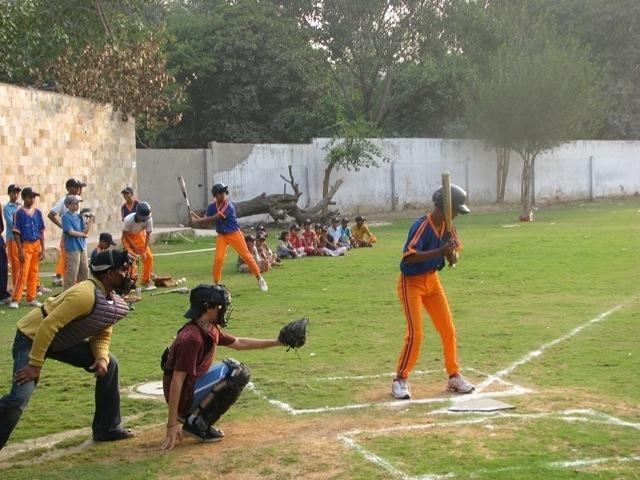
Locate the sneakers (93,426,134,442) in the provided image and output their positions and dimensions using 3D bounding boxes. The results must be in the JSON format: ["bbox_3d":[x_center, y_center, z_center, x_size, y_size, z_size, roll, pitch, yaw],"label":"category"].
[{"bbox_3d":[-3.251,3.066,15.854,0.666,0.266,0.219,-4,7,-8],"label":"sneakers"}]

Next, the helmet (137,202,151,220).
[{"bbox_3d":[-3.764,-0.653,21.448,0.289,0.329,0.388,1,12,-24],"label":"helmet"}]

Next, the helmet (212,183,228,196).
[{"bbox_3d":[-2.225,-1.128,21.912,0.298,0.243,0.342,-3,2,0],"label":"helmet"}]

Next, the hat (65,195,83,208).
[{"bbox_3d":[-5.060,-0.818,20.458,0.317,0.179,0.211,-22,17,-15],"label":"hat"}]

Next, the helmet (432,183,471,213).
[{"bbox_3d":[2.193,-0.698,16.673,0.604,0.337,0.395,25,16,20],"label":"helmet"}]

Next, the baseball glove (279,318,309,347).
[{"bbox_3d":[-0.421,1.445,15.756,0.509,0.479,0.400,5,-12,0],"label":"baseball glove"}]

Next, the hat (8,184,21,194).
[{"bbox_3d":[-6.521,-1.098,21.081,0.293,0.156,0.217,-17,-7,30],"label":"hat"}]

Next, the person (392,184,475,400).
[{"bbox_3d":[1.808,0.833,16.640,1.312,3.498,0.870,-5,3,-33],"label":"person"}]

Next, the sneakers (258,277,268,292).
[{"bbox_3d":[-1.308,0.942,21.888,0.173,0.382,0.142,24,-62,-44],"label":"sneakers"}]

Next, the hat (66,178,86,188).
[{"bbox_3d":[-5.017,-1.179,20.707,0.490,0.195,0.297,-2,10,-21],"label":"hat"}]

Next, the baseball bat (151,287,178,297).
[{"bbox_3d":[-3.431,1.120,21.837,0.757,0.102,0.087,-5,-39,-28],"label":"baseball bat"}]

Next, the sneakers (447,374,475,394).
[{"bbox_3d":[2.324,2.387,16.624,0.518,0.232,0.220,2,9,29],"label":"sneakers"}]

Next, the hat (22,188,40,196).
[{"bbox_3d":[-6.030,-1.004,20.601,0.397,0.202,0.238,2,5,1],"label":"hat"}]
